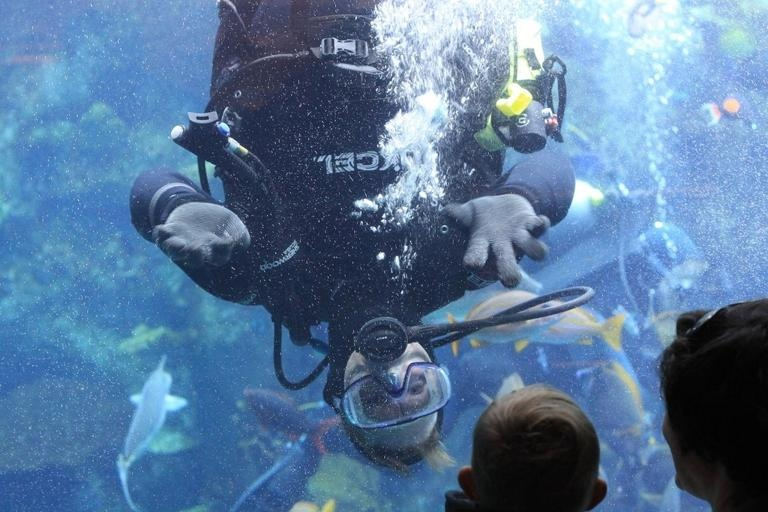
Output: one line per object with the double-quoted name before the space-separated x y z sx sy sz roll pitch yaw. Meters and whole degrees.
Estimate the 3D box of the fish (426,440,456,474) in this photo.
"fish" 0.536 1.924 8.645 0.305 0.143 0.241 34 74 -12

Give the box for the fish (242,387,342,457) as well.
"fish" -0.916 1.639 9.210 0.985 0.349 0.462 23 77 16

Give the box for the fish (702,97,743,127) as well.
"fish" 3.453 -1.477 9.203 0.406 0.054 0.228 -15 76 -6

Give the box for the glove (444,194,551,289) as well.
"glove" 1.107 -0.177 8.322 0.727 0.274 0.900 -10 68 11
